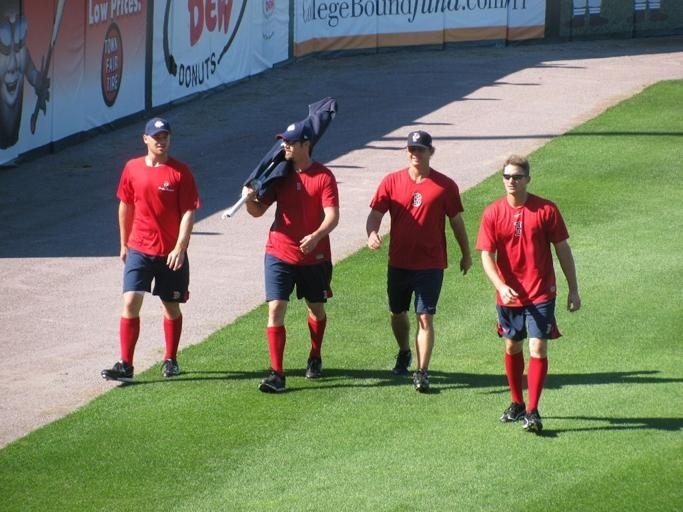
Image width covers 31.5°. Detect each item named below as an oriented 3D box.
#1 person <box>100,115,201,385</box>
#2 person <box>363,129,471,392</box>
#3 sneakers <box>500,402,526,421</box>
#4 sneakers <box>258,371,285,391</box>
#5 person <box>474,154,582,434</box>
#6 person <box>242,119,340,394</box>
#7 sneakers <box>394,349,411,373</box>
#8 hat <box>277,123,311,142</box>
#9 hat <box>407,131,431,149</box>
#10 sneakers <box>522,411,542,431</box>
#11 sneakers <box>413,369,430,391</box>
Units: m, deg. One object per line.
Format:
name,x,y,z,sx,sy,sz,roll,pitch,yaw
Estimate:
person,-2.204,-0.055,14.385,1.050,3.084,0.585,-2,8,-7
person,0.897,0.064,14.215,1.153,2.998,0.682,0,8,7
sneakers,1.931,1.746,13.535,0.341,0.156,0.135,-14,12,-41
sneakers,-0.799,1.493,14.166,0.149,0.174,0.346,0,-6,30
person,2.017,0.418,13.298,1.067,2.997,0.629,0,8,7
person,-0.553,0.009,14.281,1.023,3.105,0.727,-2,8,-5
sneakers,0.744,1.298,14.669,0.120,0.152,0.376,5,36,17
hat,-0.545,-1.424,14.128,0.391,0.214,0.356,-2,9,-3
hat,0.891,-1.326,14.045,0.293,0.199,0.260,1,9,11
sneakers,2.092,1.811,13.282,0.210,0.250,0.234,0,9,8
sneakers,0.935,1.456,14.219,0.187,0.258,0.294,0,9,4
